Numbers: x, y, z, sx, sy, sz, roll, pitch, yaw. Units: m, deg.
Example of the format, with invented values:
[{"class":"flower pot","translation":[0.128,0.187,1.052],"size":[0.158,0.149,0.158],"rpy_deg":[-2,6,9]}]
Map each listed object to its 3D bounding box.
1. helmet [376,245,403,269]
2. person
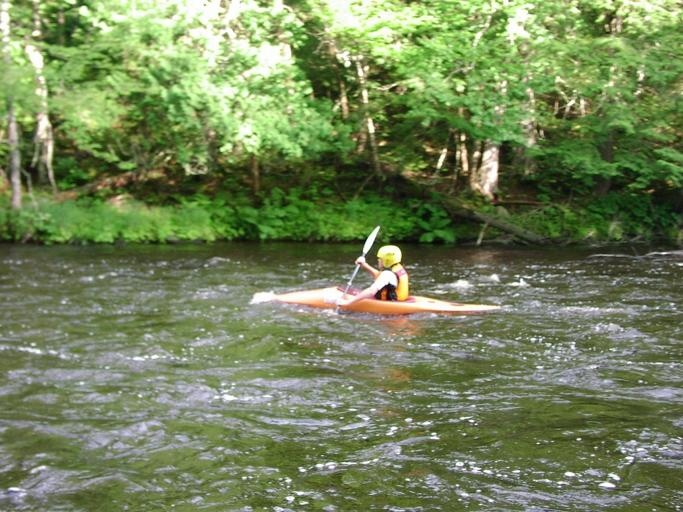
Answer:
[{"class":"helmet","translation":[0.737,0.001,12.335],"size":[0.326,0.345,0.281],"rpy_deg":[2,6,5]},{"class":"person","translation":[0.553,0.296,12.303],"size":[1.005,0.936,0.362],"rpy_deg":[1,8,1]}]
